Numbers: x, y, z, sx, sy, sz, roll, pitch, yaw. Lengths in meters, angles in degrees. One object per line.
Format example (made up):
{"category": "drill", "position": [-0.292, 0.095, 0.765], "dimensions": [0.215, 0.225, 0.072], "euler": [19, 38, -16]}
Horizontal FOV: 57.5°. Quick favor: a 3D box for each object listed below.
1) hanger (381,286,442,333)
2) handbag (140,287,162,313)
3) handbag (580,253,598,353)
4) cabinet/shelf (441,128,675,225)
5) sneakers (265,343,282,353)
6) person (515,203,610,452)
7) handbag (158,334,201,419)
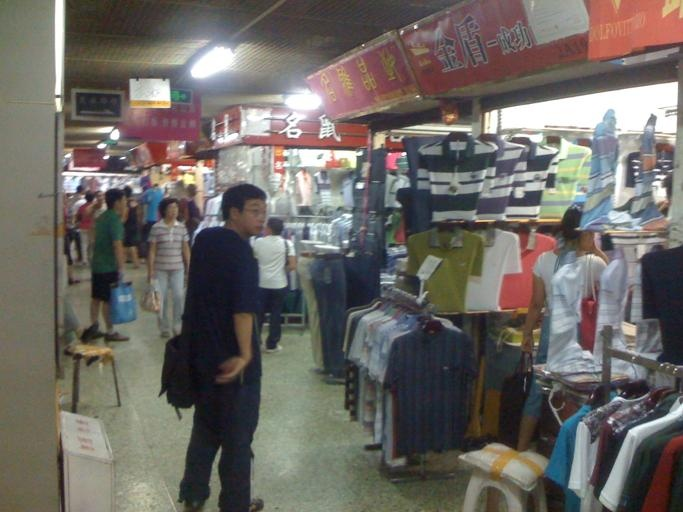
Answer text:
{"category": "hanger", "position": [0.498, 0.353, 4.454], "dimensions": [0.202, 0.204, 0.821], "euler": [0, 8, -11]}
{"category": "handbag", "position": [-2.175, 0.489, 7.105], "dimensions": [0.214, 0.311, 0.270], "euler": [-1, 8, -18]}
{"category": "handbag", "position": [1.508, 0.317, 3.799], "dimensions": [0.089, 0.527, 0.098], "euler": [5, 9, 22]}
{"category": "cabinet/shelf", "position": [1.313, -0.505, 4.355], "dimensions": [1.094, 0.466, 0.903], "euler": [-3, 9, -22]}
{"category": "sneakers", "position": [-0.785, 1.073, 7.261], "dimensions": [0.070, 0.081, 0.196], "euler": [3, 4, 26]}
{"category": "person", "position": [1.393, 0.475, 4.045], "dimensions": [0.571, 1.582, 0.625], "euler": [8, 10, 36]}
{"category": "handbag", "position": [-0.875, 0.639, 3.294], "dimensions": [0.146, 0.504, 0.270], "euler": [-2, 9, -27]}
